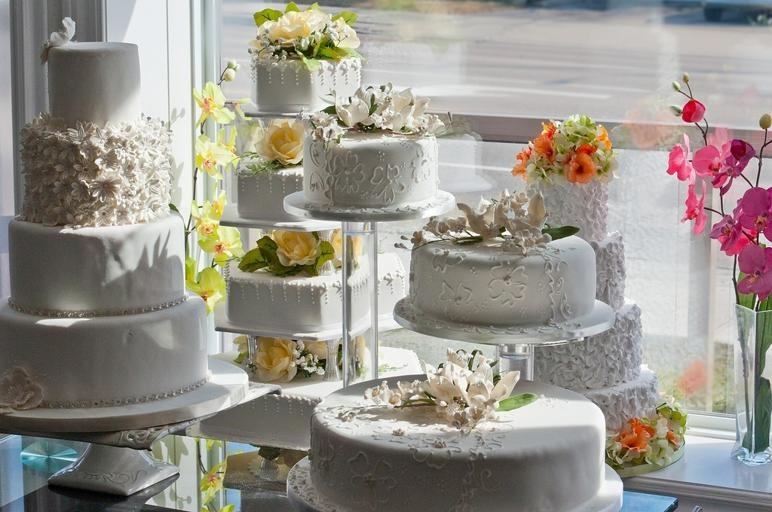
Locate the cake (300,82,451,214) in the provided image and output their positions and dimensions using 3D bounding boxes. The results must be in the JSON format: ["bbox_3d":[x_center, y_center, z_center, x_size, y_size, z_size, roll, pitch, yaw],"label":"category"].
[{"bbox_3d":[-0.052,-0.424,3.502,0.550,0.428,0.592,13,20,32],"label":"cake"}]

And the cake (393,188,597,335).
[{"bbox_3d":[0.439,0.011,3.332,0.776,0.459,0.763,3,10,26],"label":"cake"}]
